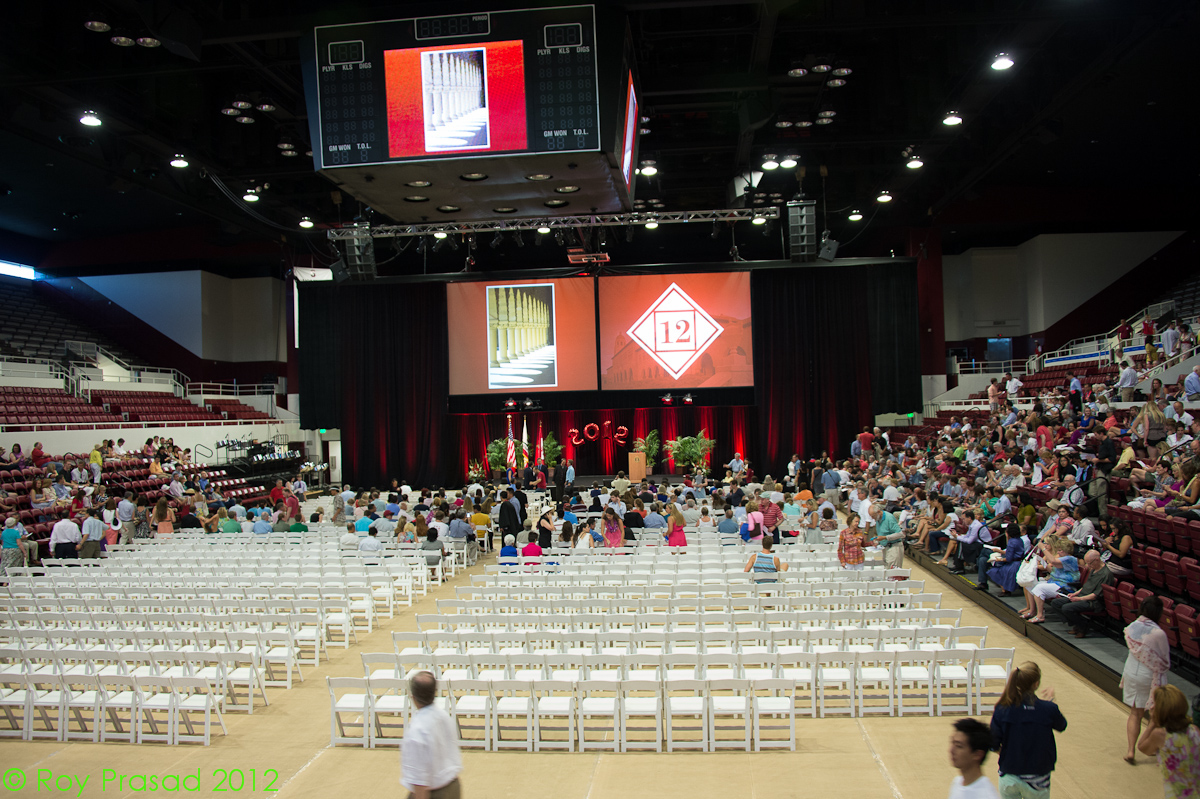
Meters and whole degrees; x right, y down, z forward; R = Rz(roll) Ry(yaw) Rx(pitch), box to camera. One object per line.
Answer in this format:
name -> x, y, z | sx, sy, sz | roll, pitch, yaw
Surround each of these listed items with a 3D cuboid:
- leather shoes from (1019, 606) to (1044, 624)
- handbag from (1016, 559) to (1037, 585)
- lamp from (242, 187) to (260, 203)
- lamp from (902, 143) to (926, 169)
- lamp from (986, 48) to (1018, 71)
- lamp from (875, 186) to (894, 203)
leather shoes -> 7.516, 3.784, 15.914 | 0.399, 0.285, 0.149 | -1, -3, 29
handbag -> 7.570, 3.029, 16.170 | 0.238, 0.550, 0.316 | -3, -2, -38
lamp -> -10.449, -6.072, 27.400 | 0.616, 0.362, 0.625 | -1, 6, -14
lamp -> 9.349, -7.235, 27.441 | 0.653, 0.654, 0.615 | -7, 5, -35
lamp -> 9.407, -7.959, 21.444 | 0.879, 0.217, 0.908 | 0, -1, 7
lamp -> 9.890, -7.076, 31.925 | 0.404, 0.376, 0.113 | 13, 20, -15
